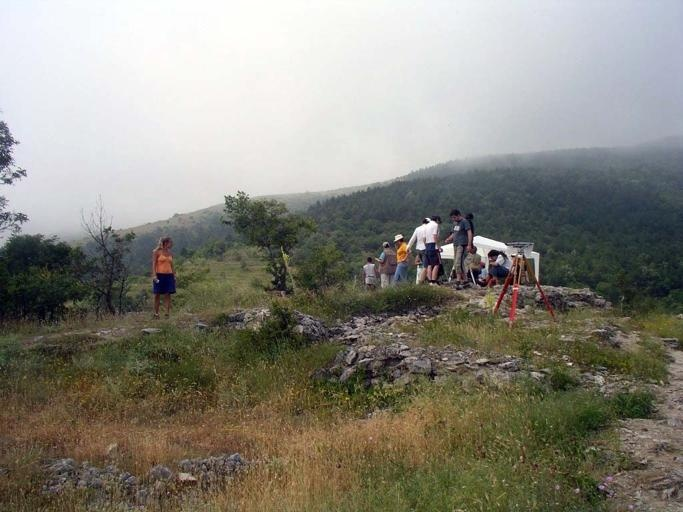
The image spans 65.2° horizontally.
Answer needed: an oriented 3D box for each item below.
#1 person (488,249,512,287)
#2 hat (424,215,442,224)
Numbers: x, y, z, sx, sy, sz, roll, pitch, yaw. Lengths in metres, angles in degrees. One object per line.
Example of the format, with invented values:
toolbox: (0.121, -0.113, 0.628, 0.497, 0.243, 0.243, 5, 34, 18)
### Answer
person: (4.771, 0.372, 16.447, 0.686, 1.149, 0.505, 3, -16, 3)
hat: (2.818, -1.143, 16.318, 0.432, 0.351, 0.641, 1, 1, 23)
